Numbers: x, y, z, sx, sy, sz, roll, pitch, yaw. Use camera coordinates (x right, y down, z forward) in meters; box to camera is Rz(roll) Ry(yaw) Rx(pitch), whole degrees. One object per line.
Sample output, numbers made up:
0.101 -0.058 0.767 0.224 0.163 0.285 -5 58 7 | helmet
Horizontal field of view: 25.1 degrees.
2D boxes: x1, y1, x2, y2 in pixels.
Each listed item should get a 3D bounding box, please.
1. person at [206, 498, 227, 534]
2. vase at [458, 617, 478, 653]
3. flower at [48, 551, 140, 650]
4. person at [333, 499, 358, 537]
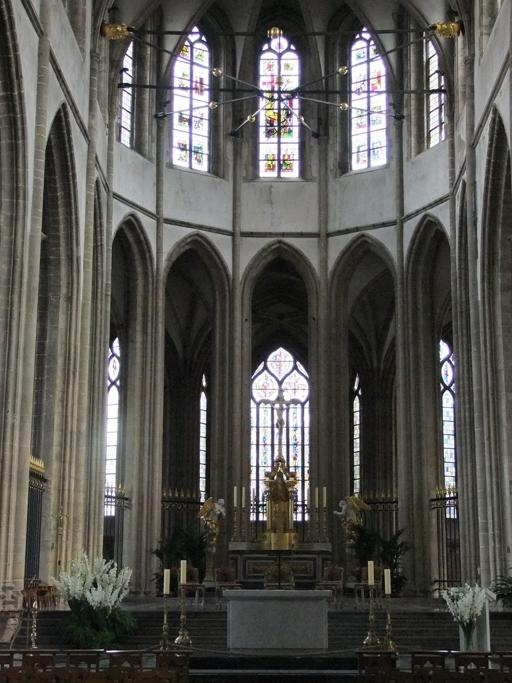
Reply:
-0.890 3.926 25.822 0.219 0.879 0.576 -8 -16 18 | person
2.593 3.573 13.982 0.205 0.397 0.845 -3 -19 11 | vase
-2.356 3.765 16.714 1.100 1.381 0.940 5 -16 -14 | flower
2.046 3.894 25.393 0.468 0.980 0.839 -2 -17 8 | person
